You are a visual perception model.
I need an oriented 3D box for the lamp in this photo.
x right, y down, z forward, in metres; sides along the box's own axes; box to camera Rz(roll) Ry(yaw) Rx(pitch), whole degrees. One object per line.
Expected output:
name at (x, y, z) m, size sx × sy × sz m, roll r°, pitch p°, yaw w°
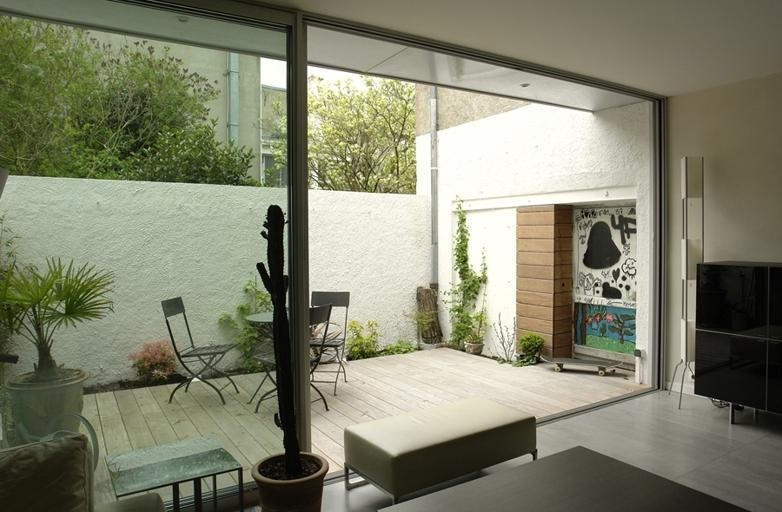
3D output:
lamp at (3.404, 0.259, 5.945) m, size 0.353 × 2.822 × 0.856 m, roll 2°, pitch 8°, yaw 30°

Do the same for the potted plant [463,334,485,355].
potted plant at (1.378, 1.481, 8.749) m, size 0.329 × 0.305 × 0.314 m, roll 1°, pitch -9°, yaw -7°

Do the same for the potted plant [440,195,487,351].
potted plant at (1.275, 0.297, 8.970) m, size 0.522 × 2.597 × 0.880 m, roll -5°, pitch 7°, yaw -23°
